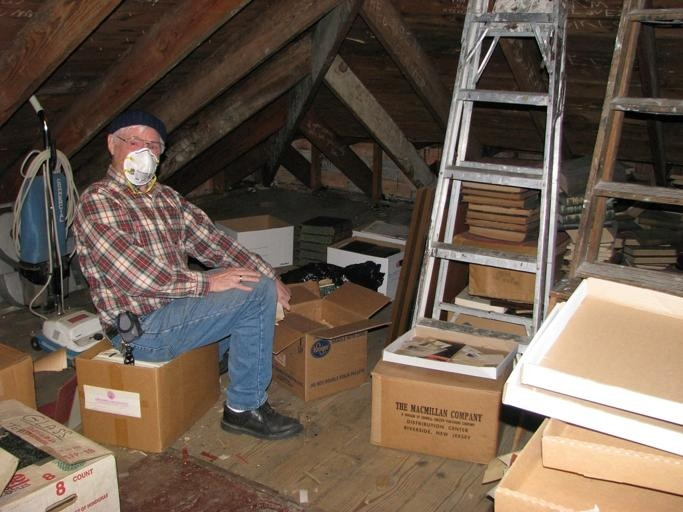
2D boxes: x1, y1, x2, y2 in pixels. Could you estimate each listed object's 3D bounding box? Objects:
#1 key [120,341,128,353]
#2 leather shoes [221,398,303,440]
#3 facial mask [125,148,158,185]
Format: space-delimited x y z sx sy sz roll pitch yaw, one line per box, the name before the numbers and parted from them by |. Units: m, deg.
key | -0.833 0.348 2.289 0.036 0.040 0.017 -19 -8 26
leather shoes | -0.337 0.691 2.514 0.364 0.125 0.128 3 19 2
facial mask | -0.804 -0.362 2.409 0.146 0.123 0.158 4 12 -35
